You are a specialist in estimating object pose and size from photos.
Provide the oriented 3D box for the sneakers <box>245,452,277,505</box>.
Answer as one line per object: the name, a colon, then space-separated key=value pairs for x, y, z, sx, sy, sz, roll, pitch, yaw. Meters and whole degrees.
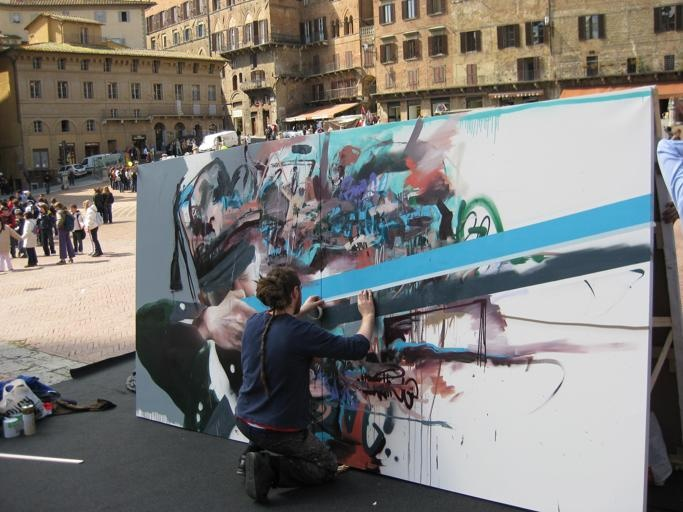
sneakers: x=-0.669 y=1.768 z=5.847 sx=0.143 sy=0.574 sz=0.200 roll=-5 pitch=-7 yaw=25

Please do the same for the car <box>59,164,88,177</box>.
car: x=-18.298 y=-5.553 z=48.175 sx=1.678 sy=0.996 sz=1.172 roll=20 pitch=22 yaw=34

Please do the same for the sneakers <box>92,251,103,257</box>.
sneakers: x=-7.379 y=-0.036 z=21.323 sx=0.331 sy=0.191 sz=0.141 roll=7 pitch=8 yaw=12

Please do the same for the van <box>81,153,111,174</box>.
van: x=-16.680 y=-6.441 z=48.614 sx=1.312 sy=1.497 sz=2.200 roll=-10 pitch=18 yaw=-39

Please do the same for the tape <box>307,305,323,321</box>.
tape: x=-0.233 y=0.545 z=6.508 sx=0.089 sy=0.155 sz=0.047 roll=-4 pitch=-10 yaw=24

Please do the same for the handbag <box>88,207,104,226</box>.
handbag: x=-7.884 y=-1.262 z=22.582 sx=0.339 sy=0.741 sz=0.713 roll=-5 pitch=-1 yaw=-7

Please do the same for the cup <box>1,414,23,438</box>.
cup: x=-3.386 y=1.777 z=7.227 sx=0.179 sy=0.205 sz=0.099 roll=0 pitch=6 yaw=8

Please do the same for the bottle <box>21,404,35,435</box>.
bottle: x=-3.216 y=1.701 z=7.266 sx=0.134 sy=0.297 sz=0.171 roll=-6 pitch=8 yaw=-40
